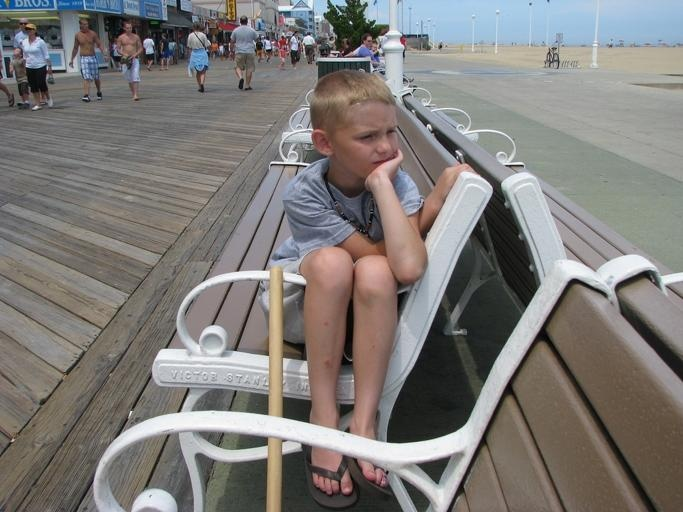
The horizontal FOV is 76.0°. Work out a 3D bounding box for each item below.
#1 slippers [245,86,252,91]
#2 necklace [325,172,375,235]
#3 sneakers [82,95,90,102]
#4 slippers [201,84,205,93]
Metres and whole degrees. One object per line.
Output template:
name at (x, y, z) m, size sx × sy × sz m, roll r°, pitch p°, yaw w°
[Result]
slippers at (-3.287, -5.868, 15.330) m, size 0.134 × 0.170 × 0.362 m, roll -1°, pitch 13°, yaw 0°
necklace at (0.027, -0.160, 1.644) m, size 0.143 × 0.260 × 0.054 m, roll -27°, pitch 6°, yaw -23°
sneakers at (-7.319, -4.483, 12.509) m, size 0.122 × 0.148 × 0.316 m, roll 2°, pitch 6°, yaw -7°
slippers at (-4.655, -5.530, 14.606) m, size 0.102 × 0.379 × 0.149 m, roll -1°, pitch 46°, yaw -14°
